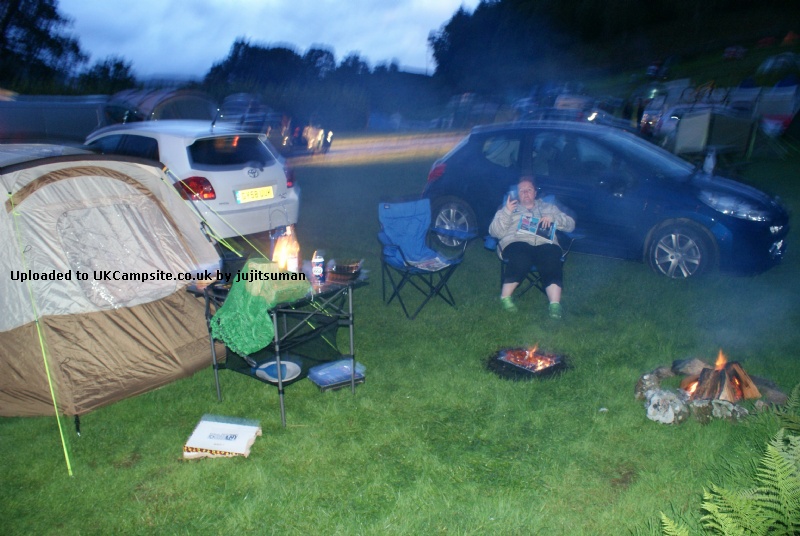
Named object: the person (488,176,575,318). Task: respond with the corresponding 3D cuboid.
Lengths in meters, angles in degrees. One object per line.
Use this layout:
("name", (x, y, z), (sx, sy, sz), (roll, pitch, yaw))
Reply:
("person", (1.692, -0.316, 6.896), (1.063, 1.486, 1.044), (5, 23, 17))

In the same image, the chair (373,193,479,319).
("chair", (0.269, -0.177, 6.991), (1.171, 1.539, 0.974), (-9, 15, -24))

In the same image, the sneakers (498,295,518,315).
("sneakers", (1.425, 0.471, 6.809), (0.229, 0.250, 0.183), (-2, 22, 0))

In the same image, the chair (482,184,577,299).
("chair", (1.813, -0.407, 7.174), (1.174, 1.930, 1.408), (-2, -10, 16))

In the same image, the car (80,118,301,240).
("car", (-2.965, -1.691, 7.920), (1.664, 1.243, 2.734), (-10, 34, -37))

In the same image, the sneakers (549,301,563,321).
("sneakers", (1.988, 0.526, 6.710), (0.155, 0.251, 0.252), (5, 23, 16))
